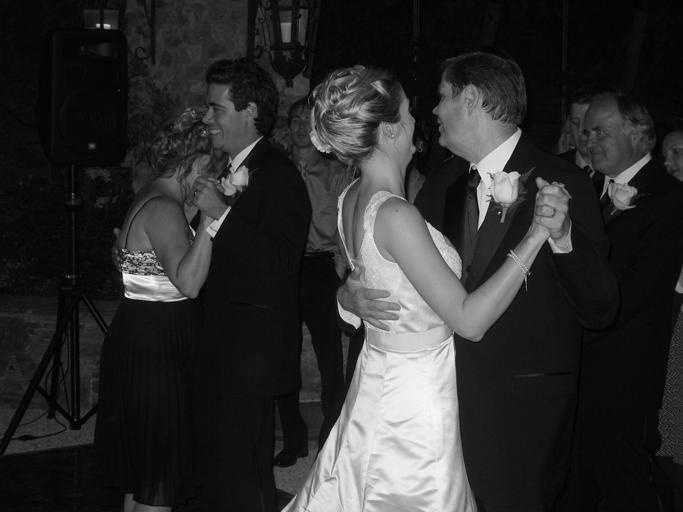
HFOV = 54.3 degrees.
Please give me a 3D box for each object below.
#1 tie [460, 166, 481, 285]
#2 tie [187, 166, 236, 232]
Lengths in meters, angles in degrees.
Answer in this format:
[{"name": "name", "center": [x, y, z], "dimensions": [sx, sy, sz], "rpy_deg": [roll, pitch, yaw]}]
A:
[{"name": "tie", "center": [0.520, -0.128, 2.728], "dimensions": [0.073, 0.494, 0.038], "rpy_deg": [6, -24, 8]}, {"name": "tie", "center": [-0.604, -0.273, 3.135], "dimensions": [0.208, 0.226, 0.211], "rpy_deg": [-33, -32, -8]}]
